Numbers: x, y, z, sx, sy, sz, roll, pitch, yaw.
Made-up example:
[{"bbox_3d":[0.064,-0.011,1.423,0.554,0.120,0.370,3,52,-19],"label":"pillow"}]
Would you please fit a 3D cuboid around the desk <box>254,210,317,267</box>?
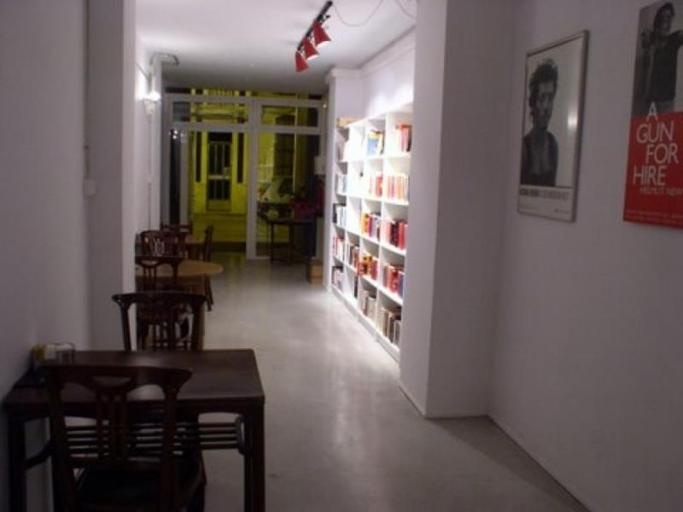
[{"bbox_3d":[-1.135,-0.363,10.856,0.972,1.030,0.970,-1,7,-42],"label":"desk"}]
